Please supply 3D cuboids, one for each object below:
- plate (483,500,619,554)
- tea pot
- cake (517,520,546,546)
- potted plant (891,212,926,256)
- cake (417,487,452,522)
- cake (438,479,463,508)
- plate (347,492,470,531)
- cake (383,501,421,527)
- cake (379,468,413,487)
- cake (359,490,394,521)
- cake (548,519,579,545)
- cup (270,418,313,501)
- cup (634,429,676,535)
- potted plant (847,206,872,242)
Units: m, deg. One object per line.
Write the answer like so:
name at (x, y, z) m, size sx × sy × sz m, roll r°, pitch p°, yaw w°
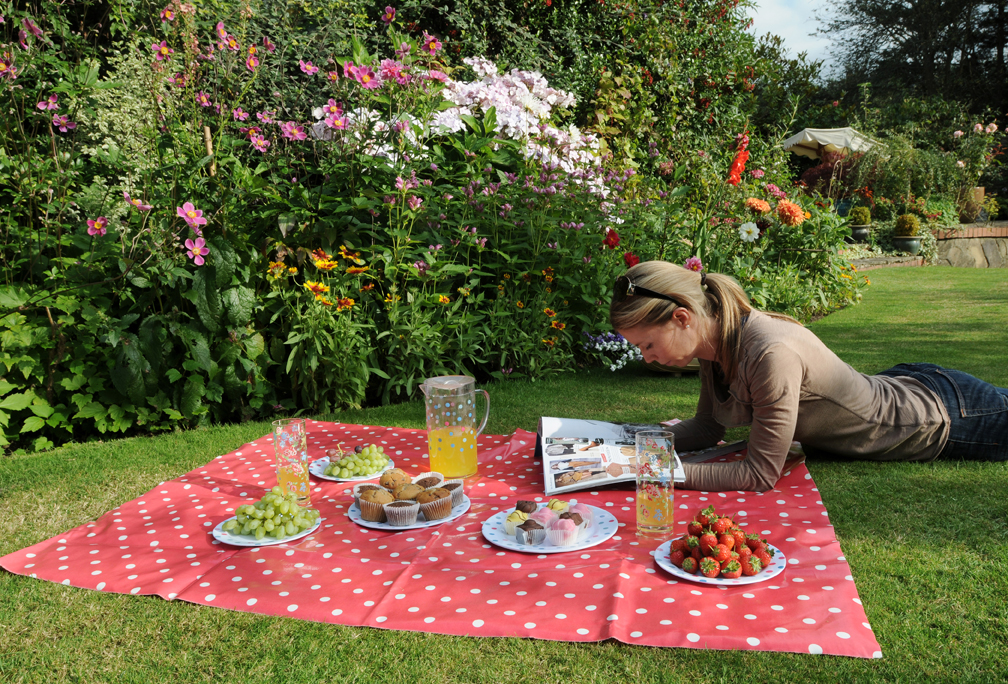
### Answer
plate at (0.188, 0.776, 3.662) m, size 0.628 × 0.158 × 0.569 m, roll -1°, pitch 0°, yaw -2°
tea pot at (-0.248, 0.412, 3.911) m, size 0.253 × 0.496 × 0.226 m, roll -2°, pitch 4°, yaw 0°
cake at (0.107, 0.783, 3.383) m, size 0.085 × 0.076 × 0.109 m, roll 5°, pitch 18°, yaw 12°
potted plant at (6.596, -1.752, 13.394) m, size 0.424 × 0.626 × 0.410 m, roll 0°, pitch 5°, yaw 25°
cake at (-0.294, 0.696, 3.572) m, size 0.113 × 0.099 × 0.129 m, roll -2°, pitch 12°, yaw 40°
cake at (-0.240, 0.677, 3.680) m, size 0.086 × 0.075 × 0.101 m, roll -1°, pitch 16°, yaw 1°
plate at (-0.415, 0.732, 3.562) m, size 0.403 × 0.098 × 0.392 m, roll -5°, pitch 4°, yaw 2°
cake at (-0.452, 0.731, 3.515) m, size 0.112 × 0.058 × 0.116 m, roll -1°, pitch 5°, yaw 6°
cake at (-0.489, 0.613, 3.700) m, size 0.087 × 0.029 × 0.088 m, roll 0°, pitch 5°, yaw -45°
cake at (-0.569, 0.704, 3.548) m, size 0.123 × 0.097 × 0.131 m, roll 0°, pitch -5°, yaw -1°
cake at (0.239, 0.777, 3.407) m, size 0.099 × 0.098 × 0.099 m, roll 0°, pitch -2°, yaw 10°
cup at (-0.960, 0.526, 3.708) m, size 0.148 × 0.370 × 0.139 m, roll -1°, pitch 13°, yaw 0°
cup at (0.618, 0.594, 3.393) m, size 0.148 × 0.438 × 0.101 m, roll -1°, pitch 4°, yaw 8°
potted plant at (6.028, -1.982, 13.961) m, size 0.530 × 0.592 × 0.278 m, roll -4°, pitch 5°, yaw -25°
